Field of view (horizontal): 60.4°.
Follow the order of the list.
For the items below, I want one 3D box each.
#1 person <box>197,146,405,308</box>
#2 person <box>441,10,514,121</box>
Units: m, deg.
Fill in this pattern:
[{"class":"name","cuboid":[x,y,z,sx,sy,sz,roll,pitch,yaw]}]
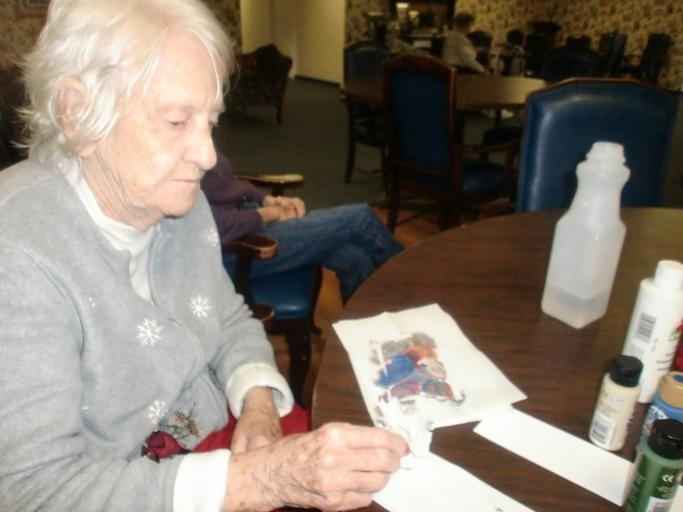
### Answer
[{"class":"person","cuboid":[-0.117,-0.144,2.151,0.838,0.591,0.388,-4,30,5]},{"class":"person","cuboid":[1.453,-2.181,6.654,0.651,1.100,0.500,-14,31,-20]}]
